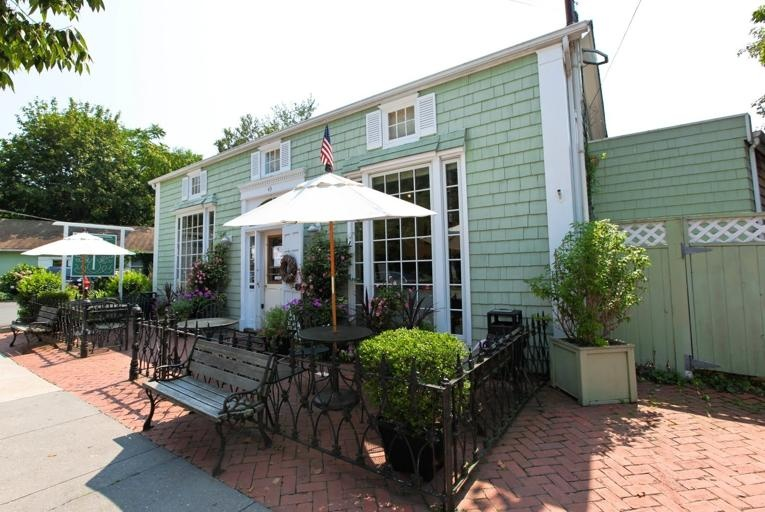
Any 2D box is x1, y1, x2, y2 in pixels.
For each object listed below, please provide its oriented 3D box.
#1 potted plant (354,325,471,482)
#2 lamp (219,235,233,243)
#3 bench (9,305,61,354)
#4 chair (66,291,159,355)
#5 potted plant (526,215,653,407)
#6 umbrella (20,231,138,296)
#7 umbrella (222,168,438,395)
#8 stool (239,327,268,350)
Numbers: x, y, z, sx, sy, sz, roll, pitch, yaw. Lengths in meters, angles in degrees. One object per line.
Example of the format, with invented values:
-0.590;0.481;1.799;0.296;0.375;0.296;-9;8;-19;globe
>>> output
0.757;2.242;8.874;1.802;2.353;2.263;-1;1;17;potted plant
-4.255;-0.453;14.786;0.272;0.261;0.090;4;-5;21;lamp
-8.213;1.550;12.591;0.702;0.481;1.142;6;-19;-10;bench
-6.666;1.640;12.789;1.734;1.266;1.525;-4;-5;43;chair
3.744;0.965;9.631;1.844;3.231;1.100;-2;-3;15;potted plant
-7.148;0.014;12.965;1.593;1.188;1.637;0;16;-39;umbrella
-0.920;0.309;9.787;3.128;2.852;3.144;-5;-4;-15;umbrella
-2.773;1.800;11.668;0.636;0.254;0.195;2;25;43;stool
